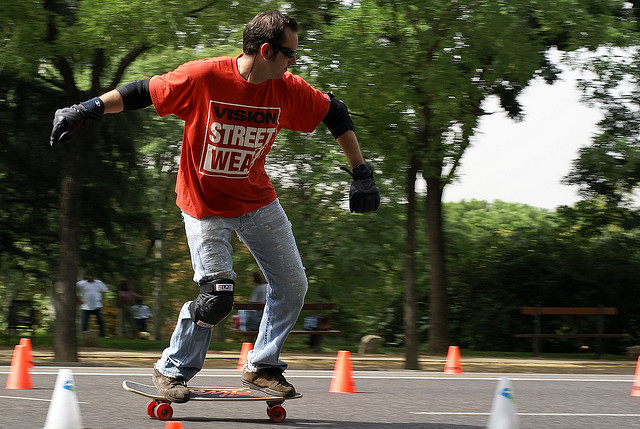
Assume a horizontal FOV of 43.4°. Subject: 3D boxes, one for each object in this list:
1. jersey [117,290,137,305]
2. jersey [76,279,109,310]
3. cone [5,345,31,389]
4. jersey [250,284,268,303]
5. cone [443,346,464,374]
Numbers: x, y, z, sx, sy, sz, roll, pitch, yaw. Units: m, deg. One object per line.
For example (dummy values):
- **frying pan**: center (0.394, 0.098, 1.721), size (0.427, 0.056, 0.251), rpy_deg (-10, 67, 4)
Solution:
- **jersey**: center (-4.884, 2.072, 20.189), size (0.201, 0.508, 0.382), rpy_deg (19, 23, 27)
- **jersey**: center (-5.402, 1.875, 18.795), size (1.061, 0.642, 0.332), rpy_deg (4, -7, -30)
- **cone**: center (-3.724, 1.887, 9.951), size (0.279, 0.506, 0.337), rpy_deg (5, -9, -19)
- **jersey**: center (-1.295, 1.644, 16.774), size (0.291, 0.396, 0.869), rpy_deg (3, -7, -5)
- **cone**: center (2.229, 2.424, 13.457), size (0.269, 0.409, 0.587), rpy_deg (1, -8, 8)
